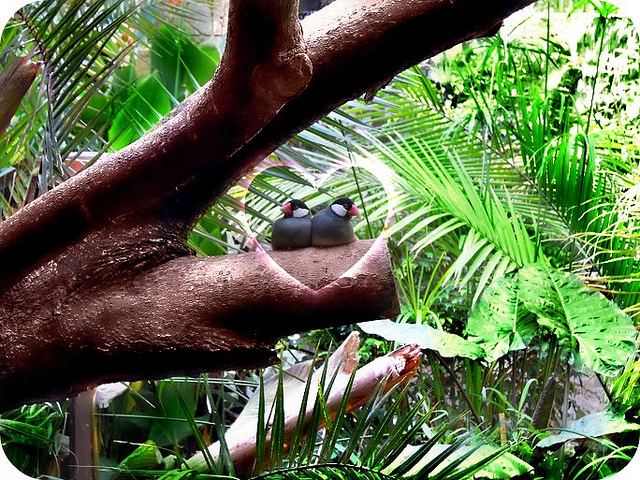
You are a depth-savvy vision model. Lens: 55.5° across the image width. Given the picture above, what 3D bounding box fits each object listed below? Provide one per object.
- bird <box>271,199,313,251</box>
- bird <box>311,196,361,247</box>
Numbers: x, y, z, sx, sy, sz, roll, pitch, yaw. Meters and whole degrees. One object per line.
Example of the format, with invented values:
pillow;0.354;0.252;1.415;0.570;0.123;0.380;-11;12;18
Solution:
bird;-0.054;-0.023;1.225;0.082;0.117;0.087;4;-14;13
bird;0.023;-0.032;1.220;0.120;0.110;0.086;5;-4;44
